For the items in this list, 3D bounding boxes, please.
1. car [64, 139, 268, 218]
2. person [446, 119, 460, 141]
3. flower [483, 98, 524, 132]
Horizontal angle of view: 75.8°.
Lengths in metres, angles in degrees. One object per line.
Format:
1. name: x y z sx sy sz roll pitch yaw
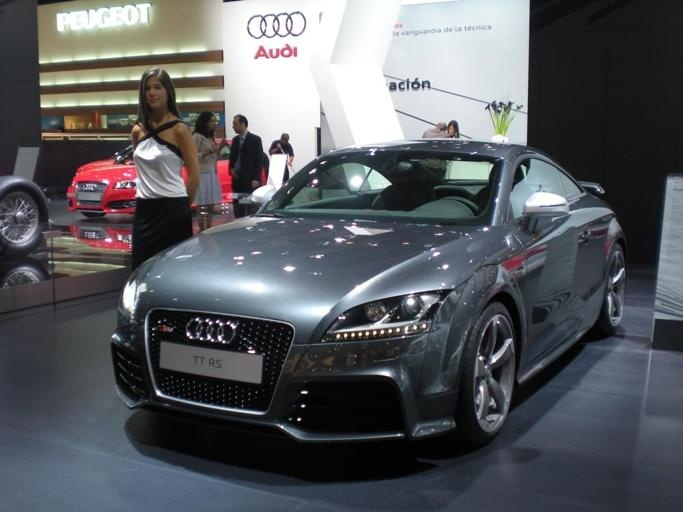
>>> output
1. car: -4.065 -1.520 11.406 2.120 1.778 5.027 4 6 29
2. person: 2.453 -2.797 9.562 0.263 0.505 0.839 2 5 14
3. flower: 3.649 -3.107 9.859 0.634 0.781 0.705 7 6 22
